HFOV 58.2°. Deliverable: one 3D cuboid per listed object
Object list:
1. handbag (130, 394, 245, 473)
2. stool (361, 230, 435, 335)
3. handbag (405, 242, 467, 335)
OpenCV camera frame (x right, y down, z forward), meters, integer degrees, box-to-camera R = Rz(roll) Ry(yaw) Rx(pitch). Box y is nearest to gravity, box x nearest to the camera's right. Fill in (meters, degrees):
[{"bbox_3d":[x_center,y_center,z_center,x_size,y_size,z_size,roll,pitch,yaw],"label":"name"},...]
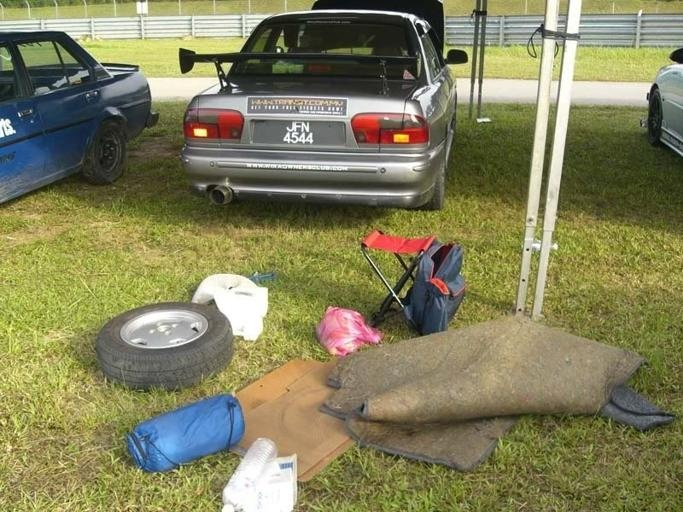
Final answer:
[{"bbox_3d":[-0.853,0.999,3.519,0.652,0.338,0.314,-16,42,-21],"label":"handbag"},{"bbox_3d":[0.478,0.102,4.860,0.731,0.834,0.654,5,23,17],"label":"stool"},{"bbox_3d":[0.714,0.221,4.588,0.392,0.617,0.656,13,33,11],"label":"handbag"}]
